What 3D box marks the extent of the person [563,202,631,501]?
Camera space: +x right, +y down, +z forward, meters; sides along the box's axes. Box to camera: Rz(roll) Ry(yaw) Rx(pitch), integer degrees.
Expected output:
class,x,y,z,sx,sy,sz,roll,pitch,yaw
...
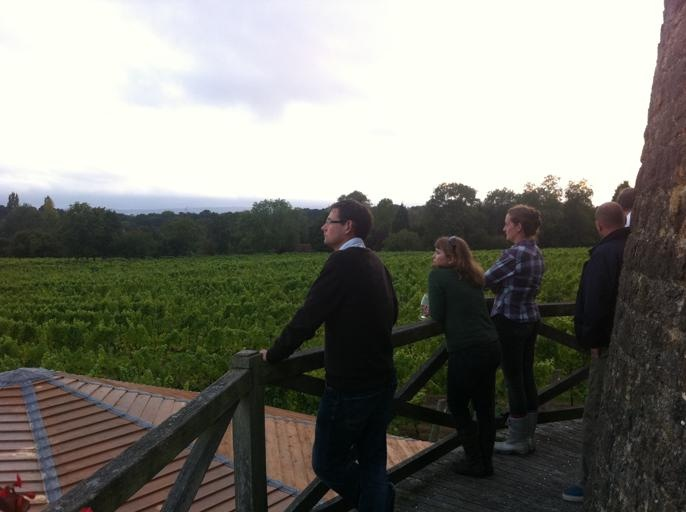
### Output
class,x,y,z,sx,sy,sz,roll,pitch,yaw
person,1.808,0.750,3.529,0.330,2.248,1.143,4,2,28

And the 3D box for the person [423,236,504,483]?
class,x,y,z,sx,sy,sz,roll,pitch,yaw
person,0.970,0.845,3.953,0.607,1.631,0.448,3,2,10
